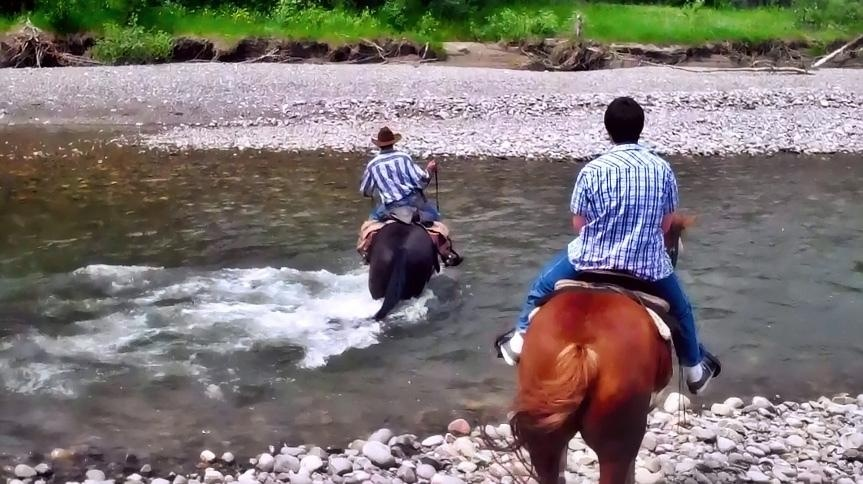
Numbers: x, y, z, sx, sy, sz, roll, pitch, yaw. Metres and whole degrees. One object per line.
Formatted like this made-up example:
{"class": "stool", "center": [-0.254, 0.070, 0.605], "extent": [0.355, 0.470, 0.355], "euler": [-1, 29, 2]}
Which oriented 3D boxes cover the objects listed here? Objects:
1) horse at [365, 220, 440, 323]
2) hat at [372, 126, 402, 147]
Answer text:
{"class": "horse", "center": [-0.670, 0.460, 13.939], "extent": [1.349, 1.566, 0.820], "euler": [-18, 27, -40]}
{"class": "hat", "center": [-0.784, -1.944, 14.024], "extent": [0.491, 0.187, 0.507], "euler": [-10, 25, 2]}
